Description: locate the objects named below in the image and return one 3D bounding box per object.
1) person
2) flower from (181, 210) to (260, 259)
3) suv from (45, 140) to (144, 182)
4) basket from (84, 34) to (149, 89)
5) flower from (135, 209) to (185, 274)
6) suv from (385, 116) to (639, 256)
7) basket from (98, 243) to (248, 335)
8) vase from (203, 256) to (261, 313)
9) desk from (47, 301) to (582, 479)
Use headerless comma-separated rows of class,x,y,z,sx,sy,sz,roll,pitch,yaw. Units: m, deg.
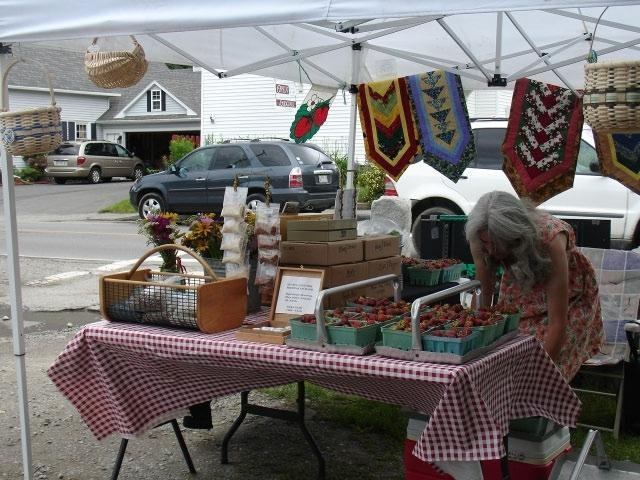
person,1.270,0.170,3.279,0.851,1.212,0.766,6,9,23
flower,-0.698,-0.062,3.386,0.473,0.287,0.297,-2,7,-41
suv,-10.196,-3.811,24.140,2.305,2.136,5.298,1,3,21
basket,-1.541,-1.349,4.009,0.428,0.401,0.315,-4,10,-22
flower,-0.968,-0.007,3.328,0.263,0.374,0.210,4,14,22
suv,3.241,-0.898,9.770,4.135,1.900,1.995,-1,5,12
basket,-0.748,0.277,3.000,0.708,0.487,0.568,7,11,27
vase,-0.521,0.269,3.301,0.317,0.324,0.244,7,11,32
desk,-0.084,0.771,2.743,2.608,0.670,0.712,3,10,17
